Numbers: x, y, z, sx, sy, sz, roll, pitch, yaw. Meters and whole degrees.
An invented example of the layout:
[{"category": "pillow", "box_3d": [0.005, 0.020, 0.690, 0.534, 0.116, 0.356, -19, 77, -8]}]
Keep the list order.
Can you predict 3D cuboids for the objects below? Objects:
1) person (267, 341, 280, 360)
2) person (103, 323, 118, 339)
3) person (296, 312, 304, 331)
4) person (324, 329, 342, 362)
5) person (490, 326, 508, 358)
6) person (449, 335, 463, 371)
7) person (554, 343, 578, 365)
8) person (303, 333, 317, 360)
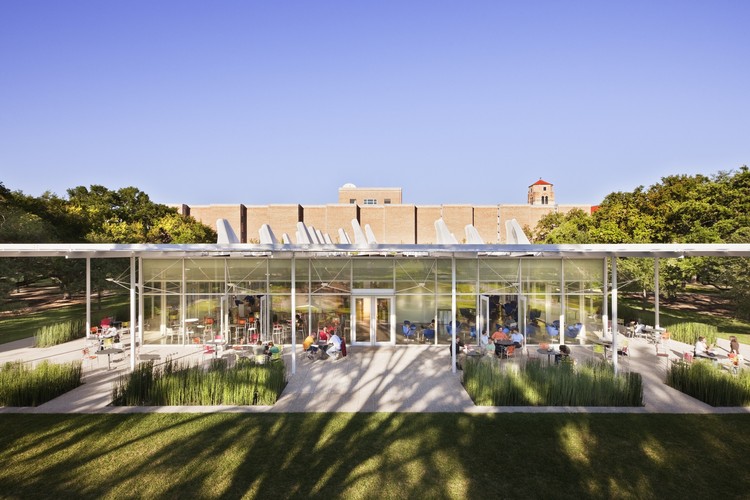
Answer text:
[{"category": "person", "box_3d": [-4.916, 4.911, 27.943, 0.643, 1.141, 0.874, -2, 4, -20]}, {"category": "person", "box_3d": [-13.813, 4.300, 30.188, 0.712, 0.488, 0.937, 2, 8, -23]}, {"category": "person", "box_3d": [-4.090, 3.946, 31.578, 0.620, 0.790, 0.318, 3, -5, 13]}, {"category": "person", "box_3d": [-2.023, 4.870, 28.842, 0.755, 1.235, 0.610, -2, -5, -6]}, {"category": "person", "box_3d": [6.163, 4.502, 28.350, 0.721, 1.436, 0.912, -1, -8, 15]}, {"category": "person", "box_3d": [4.018, 4.980, 27.832, 0.564, 1.474, 2.578, -3, -5, 9]}, {"category": "person", "box_3d": [8.826, 4.817, 26.906, 1.093, 1.531, 1.105, -6, -15, 26]}, {"category": "person", "box_3d": [-3.239, 4.856, 28.966, 0.578, 1.204, 1.025, -2, -5, -6]}]
